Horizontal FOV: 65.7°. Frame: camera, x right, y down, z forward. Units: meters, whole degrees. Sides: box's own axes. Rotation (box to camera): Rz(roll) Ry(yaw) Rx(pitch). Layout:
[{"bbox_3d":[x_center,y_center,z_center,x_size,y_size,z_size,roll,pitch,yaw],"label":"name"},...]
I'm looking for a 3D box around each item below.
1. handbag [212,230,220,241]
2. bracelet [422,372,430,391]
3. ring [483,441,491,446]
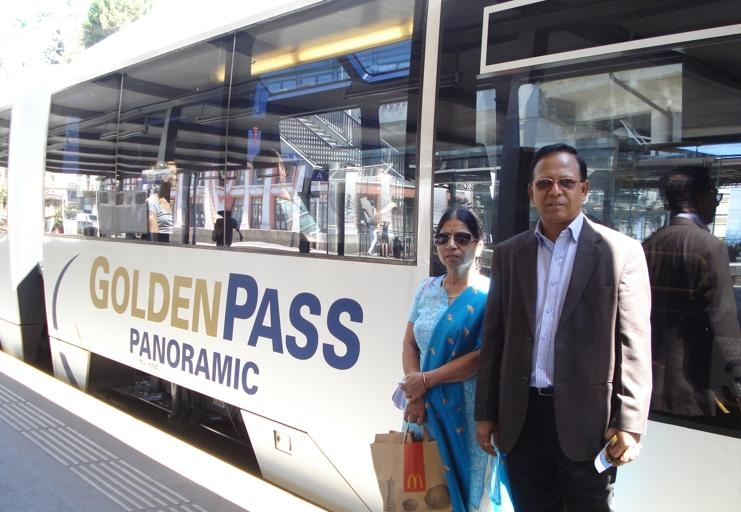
[{"bbox_3d":[-1.382,-0.170,5.078,0.061,0.091,0.028,-1,1,30],"label":"handbag"},{"bbox_3d":[0.322,0.738,3.396,0.037,0.080,0.061,-1,2,4],"label":"bracelet"},{"bbox_3d":[0.646,1.033,3.182,0.022,0.013,0.030,11,-4,-40],"label":"ring"}]
